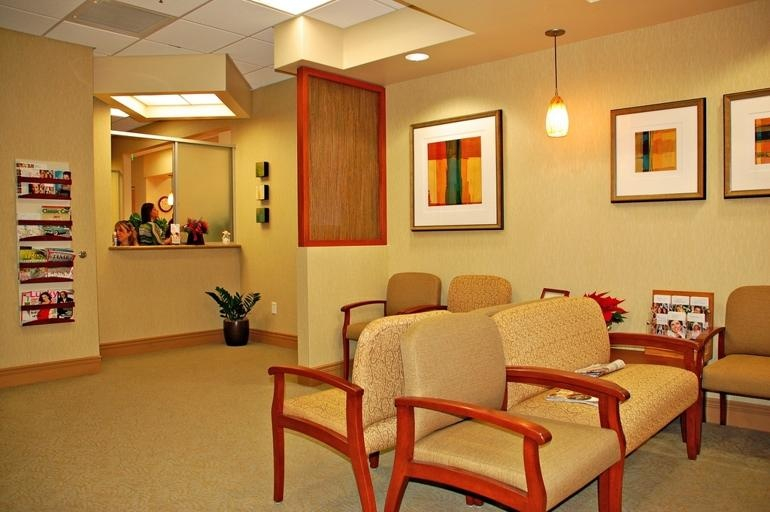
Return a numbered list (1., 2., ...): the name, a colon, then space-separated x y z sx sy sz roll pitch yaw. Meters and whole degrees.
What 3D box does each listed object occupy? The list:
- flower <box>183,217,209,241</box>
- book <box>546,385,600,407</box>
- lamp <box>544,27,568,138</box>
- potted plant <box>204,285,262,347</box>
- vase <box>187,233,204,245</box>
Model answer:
1. flower: -2.779 -0.411 7.906 0.332 0.333 0.334 1 6 -18
2. book: 1.436 1.079 4.115 0.366 0.060 0.291 5 11 29
3. lamp: 1.762 -1.755 5.480 0.278 1.036 0.556 2 10 18
4. potted plant: -2.244 0.911 8.129 0.830 0.780 0.848 0 2 8
5. vase: -2.793 -0.267 7.916 0.198 0.197 0.159 0 1 20
